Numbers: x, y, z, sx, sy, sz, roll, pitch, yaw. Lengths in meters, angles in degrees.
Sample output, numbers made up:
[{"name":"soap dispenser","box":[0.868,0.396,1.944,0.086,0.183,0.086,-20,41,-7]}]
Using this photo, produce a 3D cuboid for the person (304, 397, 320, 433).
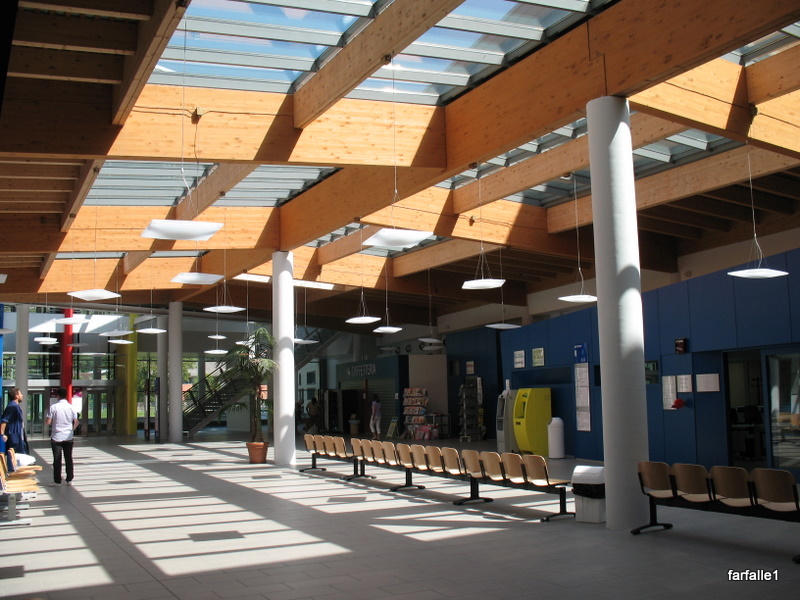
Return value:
[{"name":"person","box":[-3.837,5.083,28.873,0.615,1.503,0.794,-3,-8,10]}]

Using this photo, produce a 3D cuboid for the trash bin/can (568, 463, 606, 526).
[{"name":"trash bin/can","box":[2.411,2.492,8.422,0.442,0.675,0.292,-6,-9,28]}]

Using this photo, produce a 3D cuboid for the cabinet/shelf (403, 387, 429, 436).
[{"name":"cabinet/shelf","box":[0.652,4.113,23.830,0.641,1.830,1.272,1,-8,-18]}]

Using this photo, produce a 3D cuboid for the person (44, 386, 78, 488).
[{"name":"person","box":[-6.442,2.643,12.642,0.462,1.819,1.367,2,-8,-26]}]
